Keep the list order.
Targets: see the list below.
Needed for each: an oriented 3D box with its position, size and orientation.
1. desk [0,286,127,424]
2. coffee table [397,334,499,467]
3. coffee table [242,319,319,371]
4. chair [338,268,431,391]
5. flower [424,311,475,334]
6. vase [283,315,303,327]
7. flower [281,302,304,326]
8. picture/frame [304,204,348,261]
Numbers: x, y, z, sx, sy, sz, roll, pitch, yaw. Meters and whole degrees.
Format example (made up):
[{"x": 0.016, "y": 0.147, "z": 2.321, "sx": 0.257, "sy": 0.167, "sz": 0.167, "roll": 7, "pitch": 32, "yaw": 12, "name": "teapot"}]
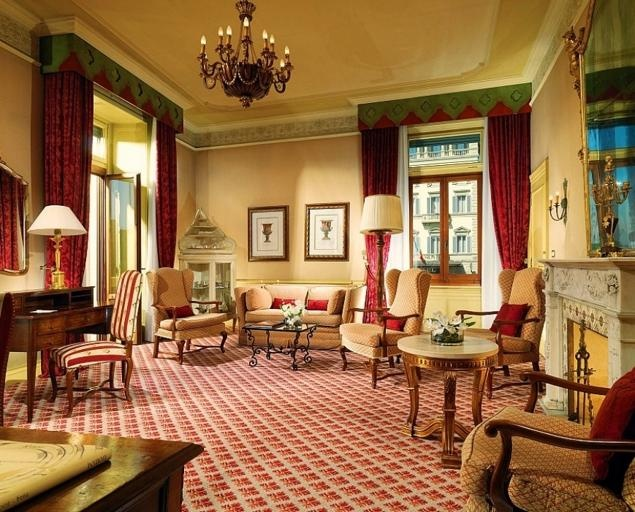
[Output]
[{"x": -2.457, "y": 0.966, "z": 4.682, "sx": 0.376, "sy": 0.765, "sz": 1.115, "roll": 0, "pitch": 1, "yaw": 10, "name": "desk"}, {"x": 1.061, "y": 1.097, "z": 3.930, "sx": 0.835, "sy": 0.757, "sz": 0.761, "roll": 1, "pitch": 0, "yaw": -19, "name": "coffee table"}, {"x": -0.516, "y": 1.101, "z": 6.521, "sx": 0.967, "sy": 0.576, "sz": 1.262, "roll": 0, "pitch": 3, "yaw": -2, "name": "coffee table"}, {"x": 0.834, "y": 0.797, "z": 5.888, "sx": 1.145, "sy": 1.586, "sz": 1.164, "roll": 2, "pitch": -3, "yaw": -20, "name": "chair"}, {"x": 1.101, "y": 0.547, "z": 3.955, "sx": 0.306, "sy": 0.088, "sz": 0.317, "roll": 0, "pitch": -2, "yaw": -19, "name": "flower"}, {"x": -0.332, "y": 0.822, "z": 6.196, "sx": 0.157, "sy": 0.116, "sz": 0.128, "roll": 4, "pitch": 4, "yaw": 42, "name": "vase"}, {"x": -0.324, "y": 0.742, "z": 6.263, "sx": 0.274, "sy": 0.283, "sz": 0.254, "roll": 1, "pitch": -6, "yaw": -10, "name": "flower"}, {"x": 0.186, "y": -0.410, "z": 8.354, "sx": 0.906, "sy": 1.171, "sz": 0.085, "roll": 1, "pitch": 2, "yaw": 22, "name": "picture/frame"}]
